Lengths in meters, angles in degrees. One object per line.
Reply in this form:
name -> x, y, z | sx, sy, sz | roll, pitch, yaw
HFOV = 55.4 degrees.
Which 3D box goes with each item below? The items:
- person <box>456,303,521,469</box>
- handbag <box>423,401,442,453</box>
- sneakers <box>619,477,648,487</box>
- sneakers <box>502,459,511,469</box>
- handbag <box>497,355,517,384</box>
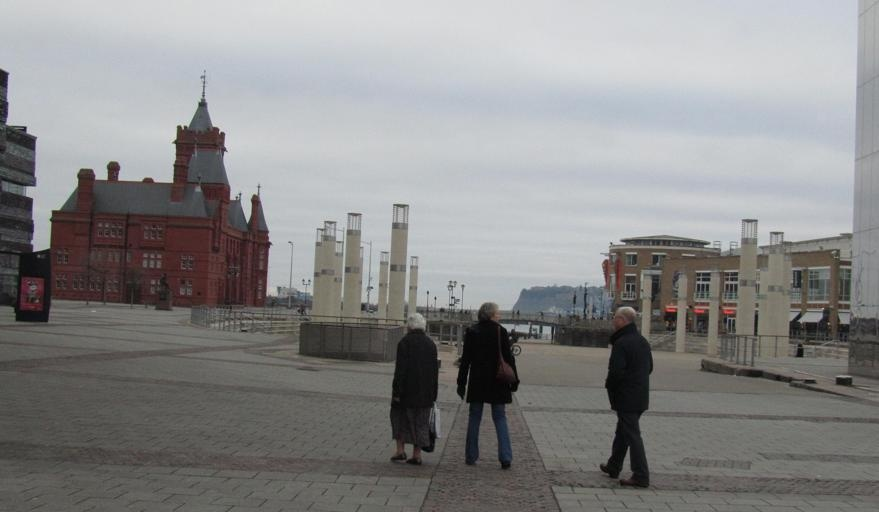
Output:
person -> 1.218, 3.218, 21.110 | 1.434, 4.092, 0.836 | 0, 2, 4
handbag -> -0.224, 4.304, 21.066 | 0.419, 1.175, 0.255 | -1, 2, -5
sneakers -> 4.696, 5.436, 20.265 | 0.676, 0.270, 0.240 | 5, -7, 16
sneakers -> 1.693, 5.165, 20.839 | 0.289, 0.211, 0.195 | -1, 2, -20
handbag -> 1.671, 2.858, 21.006 | 0.668, 0.722, 0.257 | 9, -19, -36
